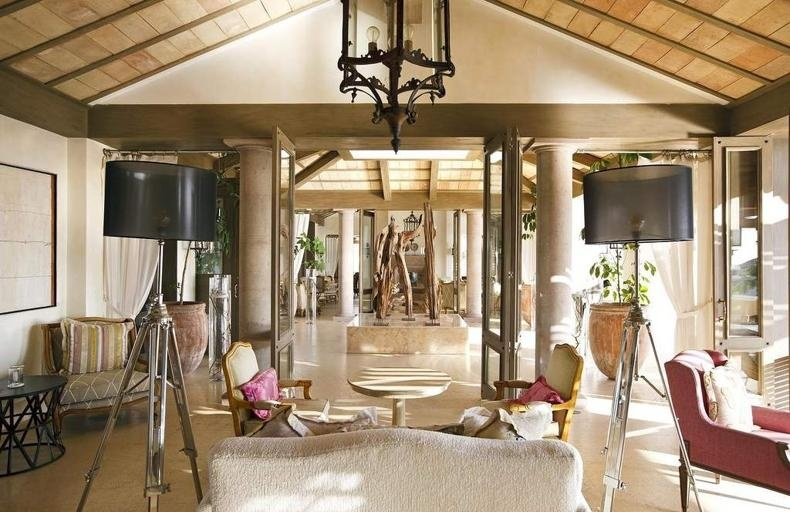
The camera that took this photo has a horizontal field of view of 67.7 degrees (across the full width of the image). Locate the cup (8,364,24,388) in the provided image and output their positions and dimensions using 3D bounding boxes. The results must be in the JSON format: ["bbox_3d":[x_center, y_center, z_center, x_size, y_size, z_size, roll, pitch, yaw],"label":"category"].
[{"bbox_3d":[-3.938,1.238,6.018,0.205,0.235,0.203,0,-2,0],"label":"cup"}]

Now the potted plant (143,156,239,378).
[{"bbox_3d":[-3.172,0.361,9.204,1.501,3.414,1.487,-2,-3,24],"label":"potted plant"}]

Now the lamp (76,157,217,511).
[{"bbox_3d":[-2.158,0.722,5.217,1.065,3.127,1.423,-1,-1,-28],"label":"lamp"}]

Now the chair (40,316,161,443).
[{"bbox_3d":[-3.437,1.336,6.892,1.126,1.158,0.968,1,2,-39],"label":"chair"}]

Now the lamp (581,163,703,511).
[{"bbox_3d":[2.143,0.754,5.130,0.869,2.873,0.905,-2,-1,27],"label":"lamp"}]

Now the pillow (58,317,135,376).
[{"bbox_3d":[-3.471,1.078,6.791,0.596,0.504,0.205,4,-13,-37],"label":"pillow"}]
